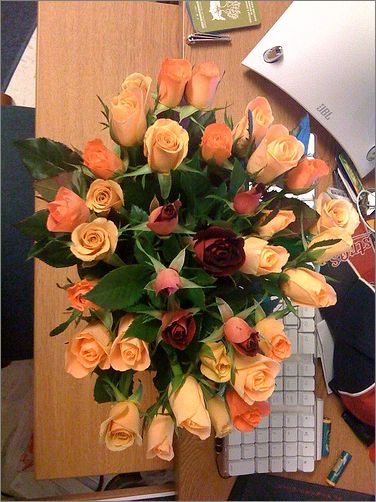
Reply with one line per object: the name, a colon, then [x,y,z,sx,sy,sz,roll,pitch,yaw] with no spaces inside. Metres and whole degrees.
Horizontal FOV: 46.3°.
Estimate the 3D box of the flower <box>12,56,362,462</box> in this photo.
flower: [0.012,-0.072,0.565,0.411,0.299,0.405,-37,-55,-15]
